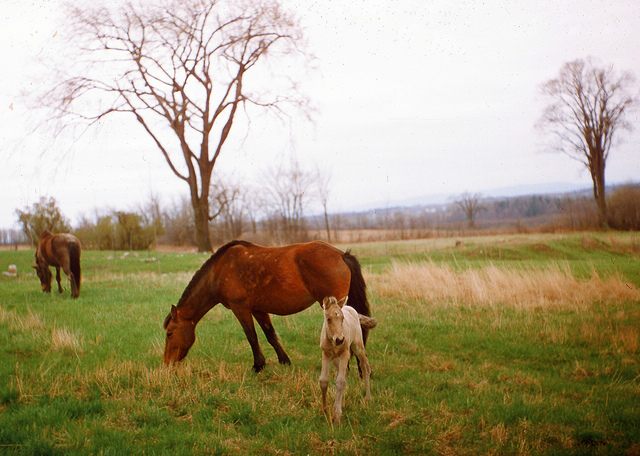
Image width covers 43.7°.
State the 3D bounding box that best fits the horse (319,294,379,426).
[{"bbox_3d":[0.711,3.810,23.554,1.759,3.698,0.890,-6,1,-37],"label":"horse"}]

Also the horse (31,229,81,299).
[{"bbox_3d":[-10.258,1.380,31.553,2.279,2.842,0.997,-6,0,44],"label":"horse"}]
